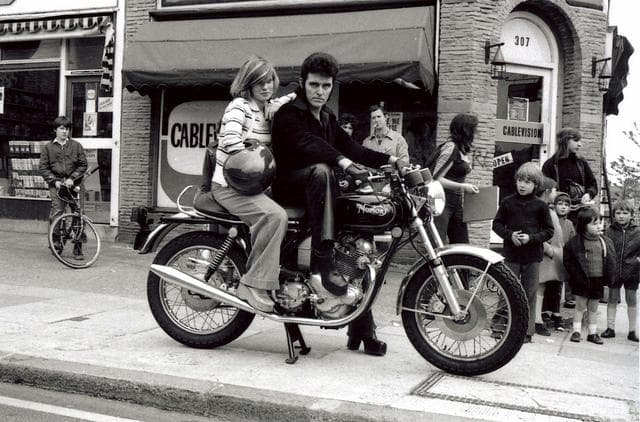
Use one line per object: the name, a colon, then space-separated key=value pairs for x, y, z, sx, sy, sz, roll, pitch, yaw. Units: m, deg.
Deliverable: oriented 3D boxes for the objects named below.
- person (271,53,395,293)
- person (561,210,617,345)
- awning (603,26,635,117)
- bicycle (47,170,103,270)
person: x=0.093 y=-0.520 z=8.651 sx=0.810 sy=2.710 sz=1.156 roll=-7 pitch=13 yaw=-44
person: x=3.887 y=0.911 z=10.431 sx=0.716 sy=1.805 sz=0.614 roll=6 pitch=10 yaw=20
awning: x=6.392 y=-2.996 z=15.362 sx=0.483 sy=1.894 sz=1.135 roll=6 pitch=10 yaw=23
bicycle: x=-4.344 y=0.352 z=13.119 sx=0.987 sy=1.170 sz=1.763 roll=0 pitch=0 yaw=-32
